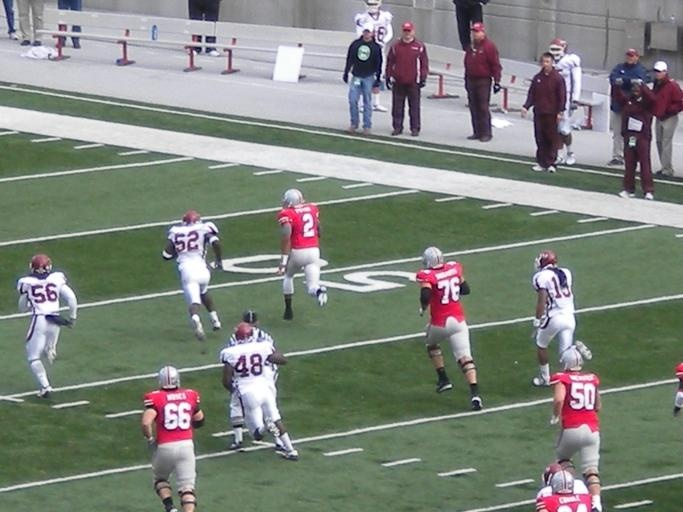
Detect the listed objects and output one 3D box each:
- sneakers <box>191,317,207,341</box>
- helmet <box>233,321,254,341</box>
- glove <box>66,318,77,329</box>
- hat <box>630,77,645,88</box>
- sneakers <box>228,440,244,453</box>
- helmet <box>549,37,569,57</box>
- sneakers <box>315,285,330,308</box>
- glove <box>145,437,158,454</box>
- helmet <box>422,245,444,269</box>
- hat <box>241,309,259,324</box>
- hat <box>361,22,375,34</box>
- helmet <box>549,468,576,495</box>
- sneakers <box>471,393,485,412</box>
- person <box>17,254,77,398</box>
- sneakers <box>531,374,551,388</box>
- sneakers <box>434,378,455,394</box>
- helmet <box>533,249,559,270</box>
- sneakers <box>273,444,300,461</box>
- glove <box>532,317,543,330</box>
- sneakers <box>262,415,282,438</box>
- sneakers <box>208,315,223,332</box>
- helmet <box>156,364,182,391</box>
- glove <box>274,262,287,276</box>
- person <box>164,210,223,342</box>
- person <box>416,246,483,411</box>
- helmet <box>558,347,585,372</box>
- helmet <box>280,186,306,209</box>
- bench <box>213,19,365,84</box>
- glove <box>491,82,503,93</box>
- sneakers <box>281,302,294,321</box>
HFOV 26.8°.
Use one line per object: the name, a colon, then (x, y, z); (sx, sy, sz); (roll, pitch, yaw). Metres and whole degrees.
sneakers: (-2.080, 0.997, 21.071); (0.139, 0.412, 0.170); (-28, 20, -27)
helmet: (-1.206, 0.932, 18.027); (0.218, 0.225, 0.179); (26, 25, 37)
glove: (-3.718, 0.951, 19.850); (0.140, 0.195, 0.193); (7, 5, -5)
hat: (5.285, -3.116, 25.730); (0.144, 0.205, 0.485); (-11, 3, 6)
sneakers: (-1.336, 2.407, 18.376); (0.168, 0.106, 0.098); (4, 8, 12)
helmet: (4.190, -4.139, 28.435); (0.422, 0.462, 0.567); (2, 6, 30)
sneakers: (-0.293, 0.583, 21.642); (0.121, 0.332, 0.157); (-2, 8, 7)
glove: (-2.209, 2.169, 16.837); (0.105, 0.196, 0.381); (-3, 6, -9)
helmet: (1.272, 0.005, 19.499); (0.242, 0.298, 0.302); (-1, 6, -30)
hat: (-1.166, 0.772, 18.609); (0.230, 0.168, 0.372); (2, -7, 0)
hat: (0.543, -4.748, 29.939); (0.311, 0.185, 0.497); (0, 9, 5)
helmet: (2.394, 2.427, 15.546); (0.200, 0.224, 0.251); (6, 31, 3)
sneakers: (1.817, 1.920, 19.295); (0.153, 0.225, 0.362); (-1, 6, 5)
person: (-4.084, 0.900, 20.102); (0.771, 1.919, 1.367); (-3, 6, -13)
sneakers: (2.734, 1.711, 19.837); (0.202, 0.090, 0.111); (17, 32, 31)
sneakers: (1.419, 1.754, 19.588); (0.295, 0.127, 0.101); (-6, 1, 42)
helmet: (2.796, 0.039, 19.619); (0.357, 0.364, 0.299); (8, 8, 44)
sneakers: (-0.683, 2.454, 18.150); (0.319, 0.153, 0.136); (24, 20, 21)
glove: (2.648, 0.897, 19.484); (0.114, 0.155, 0.124); (2, 0, 15)
sneakers: (-0.895, 2.106, 17.904); (0.166, 0.298, 0.182); (-40, -17, 21)
sneakers: (-1.879, 0.978, 21.437); (0.152, 0.257, 0.257); (-23, -9, -16)
helmet: (-2.033, 1.426, 17.015); (0.212, 0.280, 0.367); (-2, 6, -2)
glove: (-0.938, 0.195, 22.374); (0.087, 0.085, 0.269); (29, 29, 17)
person: (-2.168, 0.307, 21.396); (0.830, 2.035, 0.594); (-6, -24, -12)
person: (1.426, 0.954, 19.349); (0.776, 2.134, 0.582); (-1, 6, 7)
helmet: (2.764, 1.220, 17.343); (0.237, 0.245, 0.278); (10, 28, 15)
helmet: (-0.723, -0.886, 21.748); (0.279, 0.291, 0.329); (-11, 24, -34)
bench: (-1.320, -5.238, 37.192); (3.683, 0.871, 0.652); (2, 24, -20)
glove: (3.120, -3.368, 28.916); (0.180, 0.255, 0.106); (-2, 27, -3)
sneakers: (-0.804, 0.830, 21.940); (0.120, 0.279, 0.287); (2, 14, 0)
